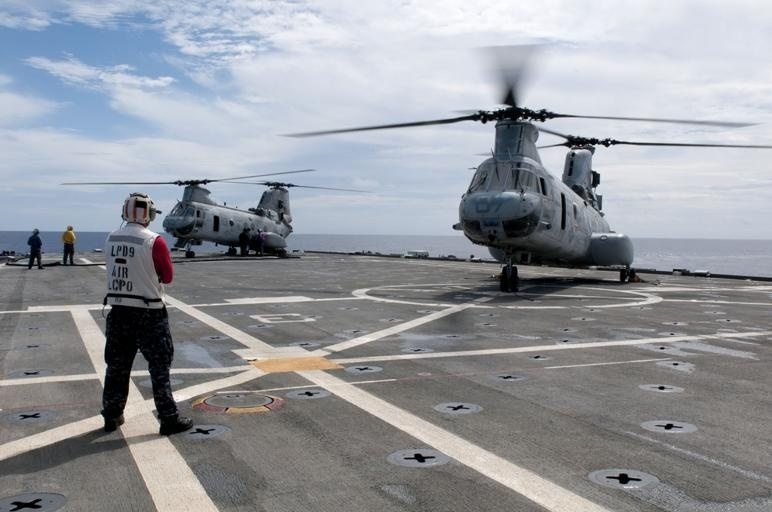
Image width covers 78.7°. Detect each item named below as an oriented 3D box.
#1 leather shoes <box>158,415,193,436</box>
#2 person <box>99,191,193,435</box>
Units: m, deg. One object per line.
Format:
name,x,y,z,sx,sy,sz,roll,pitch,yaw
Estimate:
leather shoes,-2.522,1.991,5.679,0.419,0.209,0.202,-1,4,-35
person,-3.066,0.624,5.933,0.982,2.903,1.281,0,4,-27
